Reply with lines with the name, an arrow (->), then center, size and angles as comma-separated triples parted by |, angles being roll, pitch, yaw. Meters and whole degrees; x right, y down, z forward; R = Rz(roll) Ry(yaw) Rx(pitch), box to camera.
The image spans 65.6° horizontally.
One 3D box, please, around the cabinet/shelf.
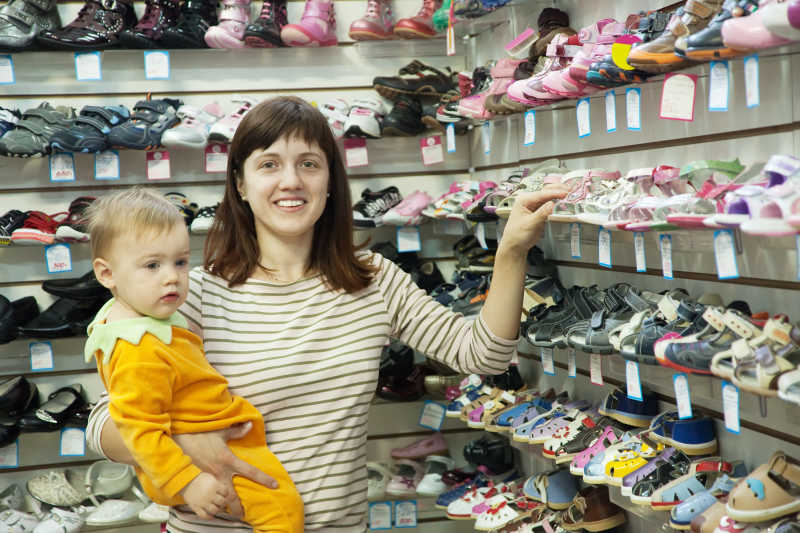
cabinet/shelf -> -0.132, 0.183, 2.075 | 1.657, 0.508, 1.678 | -1, -1, 40
